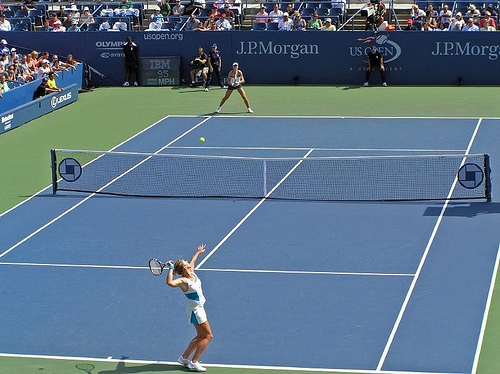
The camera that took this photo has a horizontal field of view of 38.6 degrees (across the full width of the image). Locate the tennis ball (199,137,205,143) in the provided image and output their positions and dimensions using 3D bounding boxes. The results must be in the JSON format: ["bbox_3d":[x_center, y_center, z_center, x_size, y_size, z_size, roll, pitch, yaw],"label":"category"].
[{"bbox_3d":[-1.428,-1.363,20.702,0.126,0.100,0.168,5,3,14],"label":"tennis ball"}]

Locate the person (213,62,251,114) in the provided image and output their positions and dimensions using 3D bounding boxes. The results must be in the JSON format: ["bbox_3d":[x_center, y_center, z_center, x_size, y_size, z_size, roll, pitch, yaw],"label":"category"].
[{"bbox_3d":[-0.606,-3.286,23.501,1.175,1.756,0.832,3,20,7],"label":"person"}]

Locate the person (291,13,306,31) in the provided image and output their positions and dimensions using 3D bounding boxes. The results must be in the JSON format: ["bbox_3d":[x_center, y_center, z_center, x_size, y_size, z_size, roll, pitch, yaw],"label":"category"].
[{"bbox_3d":[2.040,-6.852,29.508,0.405,0.682,0.722,16,26,40],"label":"person"}]

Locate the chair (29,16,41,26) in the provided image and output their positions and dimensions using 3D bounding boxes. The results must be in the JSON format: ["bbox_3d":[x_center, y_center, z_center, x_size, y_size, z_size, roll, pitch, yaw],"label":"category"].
[{"bbox_3d":[-9.831,-7.599,32.634,0.314,0.348,0.208,-1,-7,8],"label":"chair"}]

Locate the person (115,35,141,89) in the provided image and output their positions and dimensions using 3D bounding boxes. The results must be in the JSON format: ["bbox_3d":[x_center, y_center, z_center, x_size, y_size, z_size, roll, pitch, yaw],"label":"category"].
[{"bbox_3d":[-5.052,-5.249,29.800,0.907,2.074,0.563,-5,20,-11],"label":"person"}]

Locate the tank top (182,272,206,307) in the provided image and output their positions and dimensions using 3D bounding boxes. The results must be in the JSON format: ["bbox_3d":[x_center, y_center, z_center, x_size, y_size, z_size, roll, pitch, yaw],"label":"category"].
[{"bbox_3d":[-0.862,1.524,10.587,0.292,0.484,0.224,-9,21,-20],"label":"tank top"}]

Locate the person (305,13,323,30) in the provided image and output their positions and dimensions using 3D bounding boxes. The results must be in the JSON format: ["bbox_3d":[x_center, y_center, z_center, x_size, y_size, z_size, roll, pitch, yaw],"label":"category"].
[{"bbox_3d":[2.725,-6.846,29.584,0.595,0.596,0.732,-9,21,-20],"label":"person"}]

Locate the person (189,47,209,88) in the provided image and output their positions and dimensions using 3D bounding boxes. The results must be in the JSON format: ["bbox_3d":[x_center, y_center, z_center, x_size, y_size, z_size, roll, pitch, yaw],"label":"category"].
[{"bbox_3d":[-2.055,-4.759,28.669,0.762,1.580,0.978,-3,20,-5],"label":"person"}]

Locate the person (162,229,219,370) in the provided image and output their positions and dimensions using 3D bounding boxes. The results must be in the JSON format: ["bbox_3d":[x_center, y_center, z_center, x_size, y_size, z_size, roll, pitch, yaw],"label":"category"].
[{"bbox_3d":[-1.012,1.956,11.913,0.600,1.940,1.283,-3,14,7],"label":"person"}]

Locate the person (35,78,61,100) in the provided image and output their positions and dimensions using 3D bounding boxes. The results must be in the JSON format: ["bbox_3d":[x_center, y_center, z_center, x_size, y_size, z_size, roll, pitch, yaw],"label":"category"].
[{"bbox_3d":[-7.250,-3.500,24.923,0.393,0.631,1.210,6,21,19],"label":"person"}]
